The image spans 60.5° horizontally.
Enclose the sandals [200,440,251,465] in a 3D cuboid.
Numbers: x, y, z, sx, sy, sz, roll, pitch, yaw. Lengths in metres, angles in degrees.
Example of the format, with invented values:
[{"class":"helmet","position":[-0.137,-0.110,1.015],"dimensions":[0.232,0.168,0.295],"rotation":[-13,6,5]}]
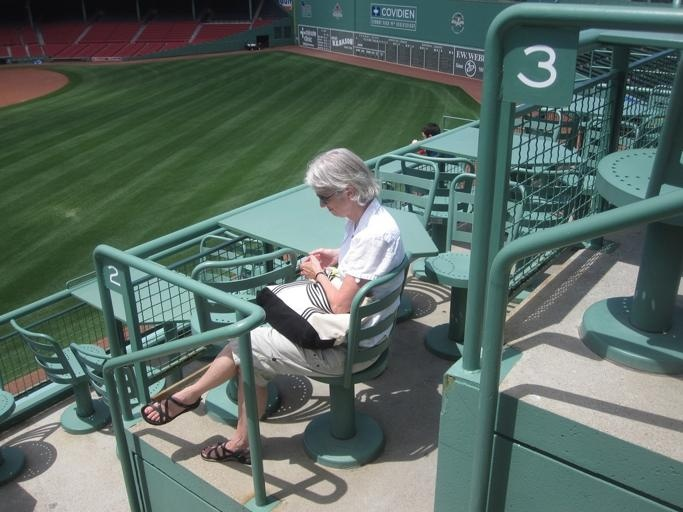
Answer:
[{"class":"sandals","position":[-0.541,0.940,2.805],"dimensions":[0.241,0.079,0.094],"rotation":[4,15,-1]}]

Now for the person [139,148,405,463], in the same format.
[{"class":"person","position":[-0.219,0.242,2.755],"dimensions":[1.033,1.407,0.540],"rotation":[-14,28,-32]}]

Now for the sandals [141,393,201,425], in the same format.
[{"class":"sandals","position":[-0.852,0.765,2.933],"dimensions":[0.332,0.123,0.086],"rotation":[-15,4,18]}]

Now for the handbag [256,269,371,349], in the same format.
[{"class":"handbag","position":[-0.175,0.270,2.701],"dimensions":[0.368,0.120,0.342],"rotation":[24,42,12]}]
